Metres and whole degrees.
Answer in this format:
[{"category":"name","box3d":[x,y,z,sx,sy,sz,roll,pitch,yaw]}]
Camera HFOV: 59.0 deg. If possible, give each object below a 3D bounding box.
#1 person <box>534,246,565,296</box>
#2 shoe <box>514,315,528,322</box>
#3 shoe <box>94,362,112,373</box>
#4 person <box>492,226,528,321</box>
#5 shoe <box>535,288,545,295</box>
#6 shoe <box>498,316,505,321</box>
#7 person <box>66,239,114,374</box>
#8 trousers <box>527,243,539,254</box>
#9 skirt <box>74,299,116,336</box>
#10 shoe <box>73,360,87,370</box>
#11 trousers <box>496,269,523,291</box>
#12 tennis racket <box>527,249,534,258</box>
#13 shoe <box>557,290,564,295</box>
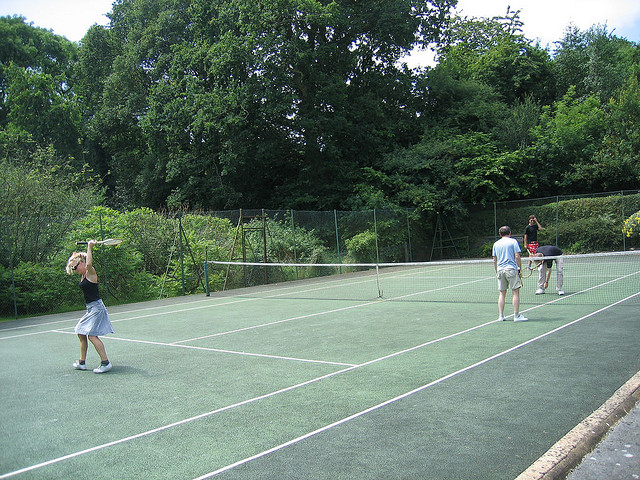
[{"category":"person","box3d":[7.090,0.904,17.501,0.839,1.512,3.901,-4,-2,23]},{"category":"shoe","box3d":[4.530,1.770,12.820,0.130,0.114,0.252,2,-7,-40]},{"category":"shoe","box3d":[-4.065,2.391,10.551,0.373,0.167,0.129,0,-5,-8]},{"category":"person","box3d":[4.480,0.777,13.380,0.702,2.314,0.734,10,-14,-37]},{"category":"shoe","box3d":[6.624,1.542,17.049,0.140,0.174,0.431,-3,-10,38]},{"category":"shoe","box3d":[4.205,1.812,13.120,0.084,0.106,0.257,-6,-11,26]},{"category":"person","box3d":[-4.459,1.251,10.927,0.735,1.808,1.068,-3,-2,-24]},{"category":"trousers","box3d":[7.076,0.230,18.937,0.364,0.119,0.366,44,-35,-22]},{"category":"skirt","box3d":[-4.276,1.522,10.850,0.850,0.749,0.642,-1,-19,-15]},{"category":"shoe","box3d":[-4.639,2.400,10.928,0.378,0.173,0.143,4,0,31]},{"category":"trousers","box3d":[4.388,0.934,13.291,0.675,0.581,0.445,-5,-4,43]},{"category":"tennis racket","box3d":[7.513,0.446,20.271,0.072,0.314,0.285,-40,32,-12]},{"category":"shoe","box3d":[7.041,1.526,16.561,0.170,0.125,0.290,-4,-2,20]}]
